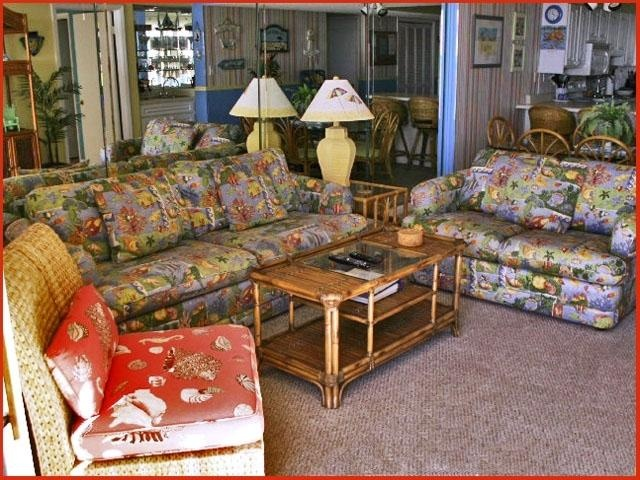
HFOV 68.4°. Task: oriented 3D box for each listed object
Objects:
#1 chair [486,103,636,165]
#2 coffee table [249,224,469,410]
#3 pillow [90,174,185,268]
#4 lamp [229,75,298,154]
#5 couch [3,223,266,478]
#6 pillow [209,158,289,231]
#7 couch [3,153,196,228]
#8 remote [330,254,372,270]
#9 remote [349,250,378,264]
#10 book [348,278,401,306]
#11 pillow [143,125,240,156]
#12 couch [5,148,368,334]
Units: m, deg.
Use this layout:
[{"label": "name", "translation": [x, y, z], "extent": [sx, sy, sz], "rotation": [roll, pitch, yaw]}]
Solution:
[{"label": "chair", "translation": [2.580, -1.130, 5.057], "extent": [1.194, 0.521, 0.646], "rotation": [16, 29, 36]}, {"label": "coffee table", "translation": [0.234, 0.408, 2.660], "extent": [0.838, 0.719, 1.528], "rotation": [12, 21, 40]}, {"label": "pillow", "translation": [-1.156, -0.086, 2.981], "extent": [0.172, 0.477, 0.579], "rotation": [-19, 1, 40]}, {"label": "lamp", "translation": [-0.484, -1.095, 4.296], "extent": [0.682, 0.743, 0.616], "rotation": [-1, 10, 1]}, {"label": "couch", "translation": [-0.617, 0.499, 1.922], "extent": [1.010, 0.735, 0.952], "rotation": [-5, 25, -12]}, {"label": "pillow", "translation": [-0.498, -0.383, 3.518], "extent": [0.170, 0.533, 0.642], "rotation": [-13, 4, 44]}, {"label": "couch", "translation": [-1.379, -0.290, 2.916], "extent": [0.186, 0.222, 0.564], "rotation": [-7, 17, 43]}, {"label": "remote", "translation": [0.180, 0.133, 2.702], "extent": [0.137, 0.036, 0.036], "rotation": [19, 47, 27]}, {"label": "remote", "translation": [0.259, 0.104, 2.746], "extent": [0.102, 0.032, 0.078], "rotation": [13, 18, 31]}, {"label": "book", "translation": [0.336, 0.293, 2.757], "extent": [0.178, 0.041, 0.182], "rotation": [-18, 15, -36]}, {"label": "pillow", "translation": [-1.057, -0.808, 3.736], "extent": [0.411, 0.180, 0.408], "rotation": [9, 22, 18]}, {"label": "couch", "translation": [-0.813, 0.015, 2.788], "extent": [0.546, 0.499, 1.227], "rotation": [18, 26, 39]}]
